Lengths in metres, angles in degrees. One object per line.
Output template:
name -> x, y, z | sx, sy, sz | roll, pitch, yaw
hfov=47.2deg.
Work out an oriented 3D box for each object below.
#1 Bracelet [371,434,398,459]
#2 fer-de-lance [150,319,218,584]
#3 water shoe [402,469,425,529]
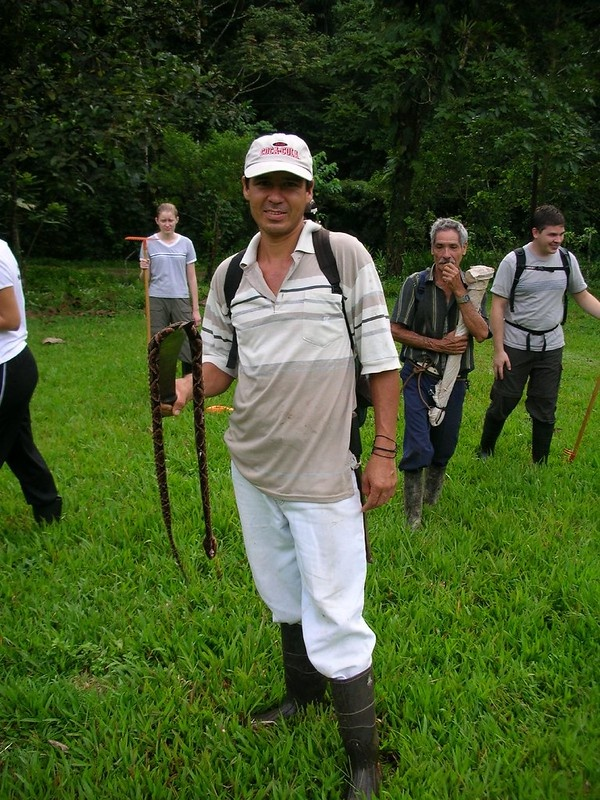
Bracelet -> 0.262, 0.146, 2.126 | 0.063, 0.075, 0.060 | 0, -16, -3
fer-de-lance -> -0.389, 0.141, 2.232 | 0.302, 0.801, 0.283 | -9, 26, -22
water shoe -> 0.695, 0.582, 4.177 | 0.131, 0.372, 0.245 | 6, 14, 11
